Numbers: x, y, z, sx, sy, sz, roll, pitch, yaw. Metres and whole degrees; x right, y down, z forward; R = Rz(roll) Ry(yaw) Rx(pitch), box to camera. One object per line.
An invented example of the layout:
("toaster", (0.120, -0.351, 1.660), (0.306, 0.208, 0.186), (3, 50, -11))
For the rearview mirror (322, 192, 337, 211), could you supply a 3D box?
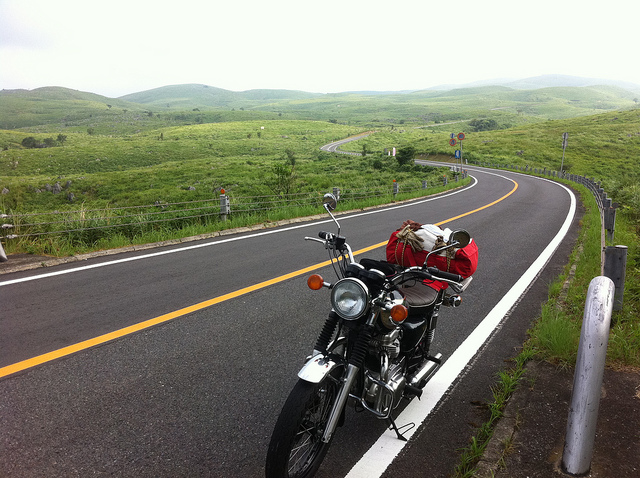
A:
("rearview mirror", (0.107, -0.382, 4.697), (0.144, 0.229, 0.079), (8, 1, 20))
